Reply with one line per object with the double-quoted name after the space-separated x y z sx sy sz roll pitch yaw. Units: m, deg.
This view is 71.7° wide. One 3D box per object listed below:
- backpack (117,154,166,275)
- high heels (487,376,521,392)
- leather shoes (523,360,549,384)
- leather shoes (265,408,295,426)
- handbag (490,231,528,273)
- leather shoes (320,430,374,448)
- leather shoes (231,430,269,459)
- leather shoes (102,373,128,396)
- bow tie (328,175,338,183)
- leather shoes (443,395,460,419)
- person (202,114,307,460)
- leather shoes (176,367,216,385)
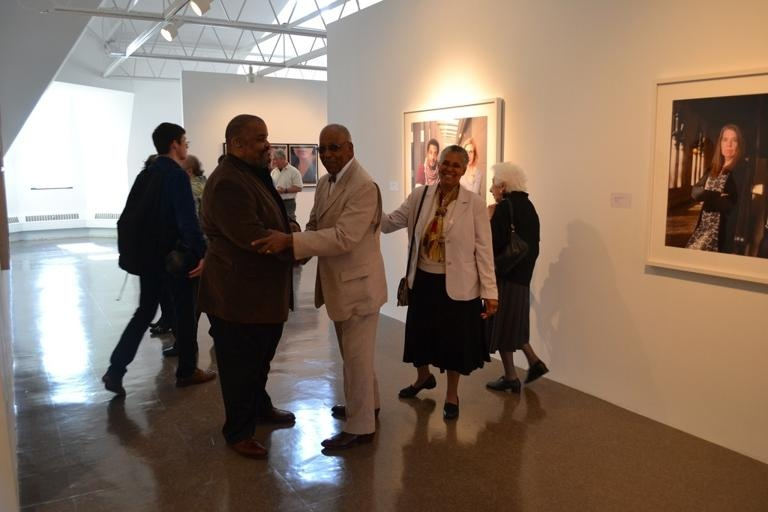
-2.439 -0.384 5.327 0.453 1.160 0.360 -6 15 -23 "backpack"
1.255 1.304 5.540 0.352 0.166 0.143 3 3 30 "high heels"
1.553 1.234 5.604 0.132 0.160 0.366 -22 -17 -27 "leather shoes"
-0.947 1.481 4.894 0.302 0.133 0.122 -1 4 -4 "leather shoes"
1.224 -0.093 5.348 0.193 0.382 0.390 13 -4 -3 "handbag"
-0.311 1.562 4.585 0.438 0.190 0.165 2 0 -13 "leather shoes"
-1.087 1.573 4.400 0.324 0.138 0.142 2 0 26 "leather shoes"
-2.693 1.269 5.333 0.185 0.258 0.228 -7 16 -27 "leather shoes"
-0.415 -0.646 4.435 0.053 0.071 0.065 32 33 35 "bow tie"
0.645 1.434 5.010 0.178 0.131 0.477 -2 2 6 "leather shoes"
-1.084 0.284 4.249 0.718 2.709 0.487 -5 14 -19 "person"
-1.939 1.266 5.590 0.403 0.179 0.151 -7 10 -32 "leather shoes"
